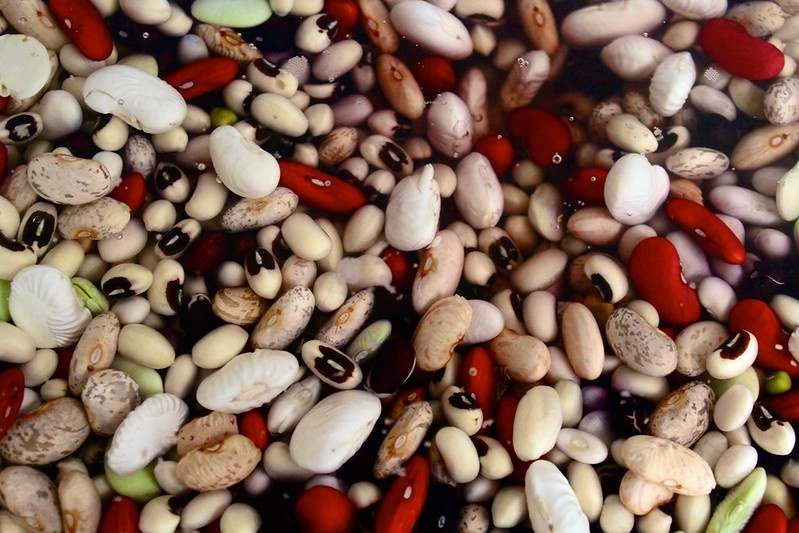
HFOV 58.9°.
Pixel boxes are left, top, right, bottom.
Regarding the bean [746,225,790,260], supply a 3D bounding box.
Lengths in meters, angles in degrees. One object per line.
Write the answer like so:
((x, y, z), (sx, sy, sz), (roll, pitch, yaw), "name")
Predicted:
((0.583, -0.037, 1.114), (0.057, 0.032, 0.040), (25, 71, 5), "bean")

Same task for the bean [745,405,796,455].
((0.536, 0.237, 1.017), (0.050, 0.025, 0.076), (-25, 61, 12), "bean")

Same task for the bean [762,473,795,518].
((0.549, 0.330, 1.018), (0.056, 0.041, 0.030), (56, 31, 6), "bean")

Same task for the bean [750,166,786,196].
((0.590, -0.139, 1.134), (0.049, 0.042, 0.028), (5, 48, -2), "bean")
